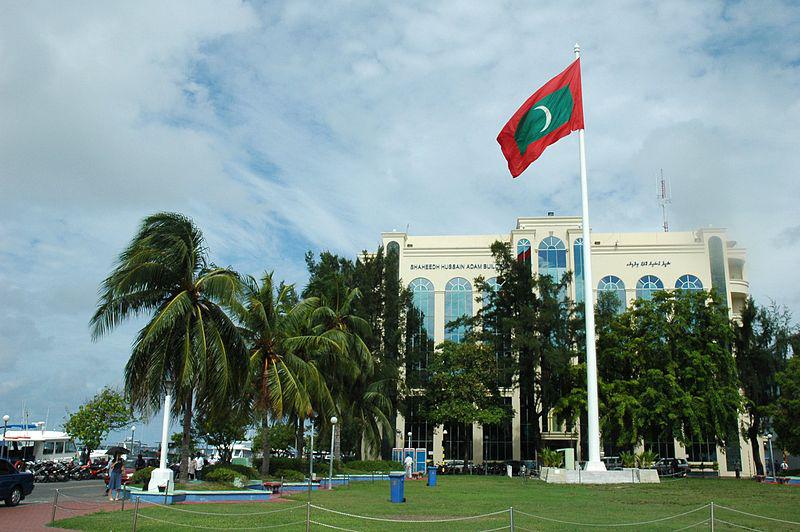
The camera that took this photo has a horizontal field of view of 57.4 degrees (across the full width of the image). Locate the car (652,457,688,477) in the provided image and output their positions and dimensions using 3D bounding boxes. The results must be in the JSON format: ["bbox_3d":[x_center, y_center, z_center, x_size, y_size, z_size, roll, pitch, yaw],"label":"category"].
[{"bbox_3d":[25.933,19.021,69.334,2.694,1.931,4.878,-7,-21,23],"label":"car"}]

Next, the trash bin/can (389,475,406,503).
[{"bbox_3d":[-0.095,13.045,42.999,0.771,1.610,0.453,2,-18,-2],"label":"trash bin/can"}]

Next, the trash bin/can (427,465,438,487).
[{"bbox_3d":[2.415,15.390,53.500,0.623,1.294,1.420,3,-19,-5],"label":"trash bin/can"}]
